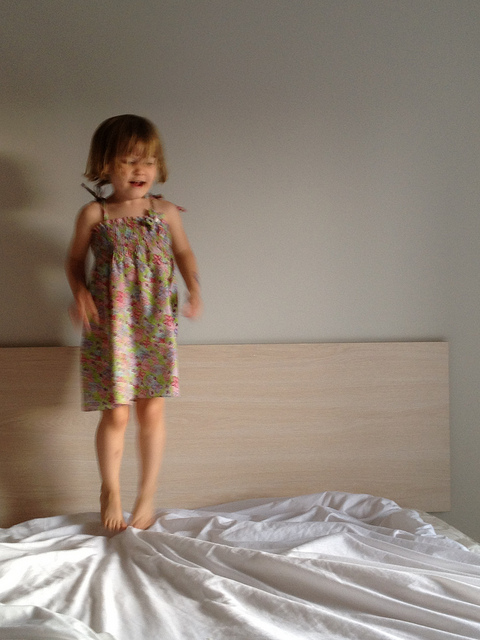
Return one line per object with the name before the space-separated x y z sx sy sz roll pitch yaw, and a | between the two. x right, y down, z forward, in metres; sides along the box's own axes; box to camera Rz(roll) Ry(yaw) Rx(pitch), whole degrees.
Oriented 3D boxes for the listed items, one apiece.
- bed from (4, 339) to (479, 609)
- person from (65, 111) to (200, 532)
bed | 0.063 0.357 1.316 0.862 0.421 0.761 0 -6 -3
person | -0.274 -0.038 1.512 0.331 1.066 0.270 4 -4 -11
